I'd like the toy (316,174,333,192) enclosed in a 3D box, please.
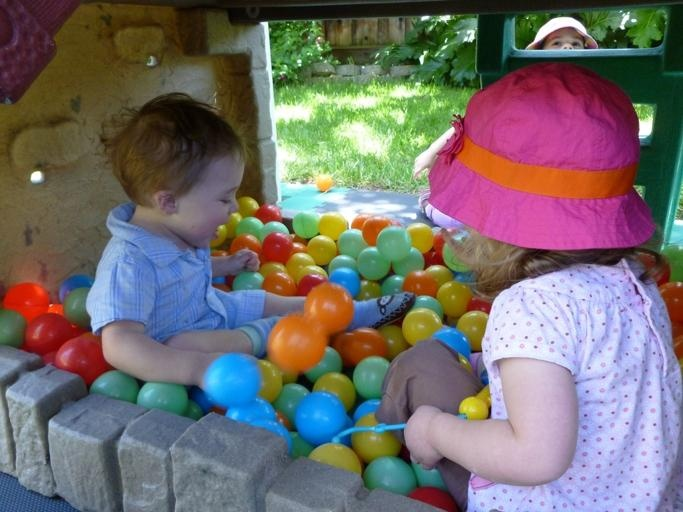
[{"bbox_3d":[-0.117,-0.490,4.254,0.104,0.127,0.111,4,25,1],"label":"toy"}]

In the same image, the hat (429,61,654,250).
[{"bbox_3d":[0.429,-0.191,1.357,0.400,0.252,0.447,16,44,33],"label":"hat"}]

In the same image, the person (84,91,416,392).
[{"bbox_3d":[-0.271,-0.183,2.357,1.131,1.175,0.767,-5,24,-11],"label":"person"}]
